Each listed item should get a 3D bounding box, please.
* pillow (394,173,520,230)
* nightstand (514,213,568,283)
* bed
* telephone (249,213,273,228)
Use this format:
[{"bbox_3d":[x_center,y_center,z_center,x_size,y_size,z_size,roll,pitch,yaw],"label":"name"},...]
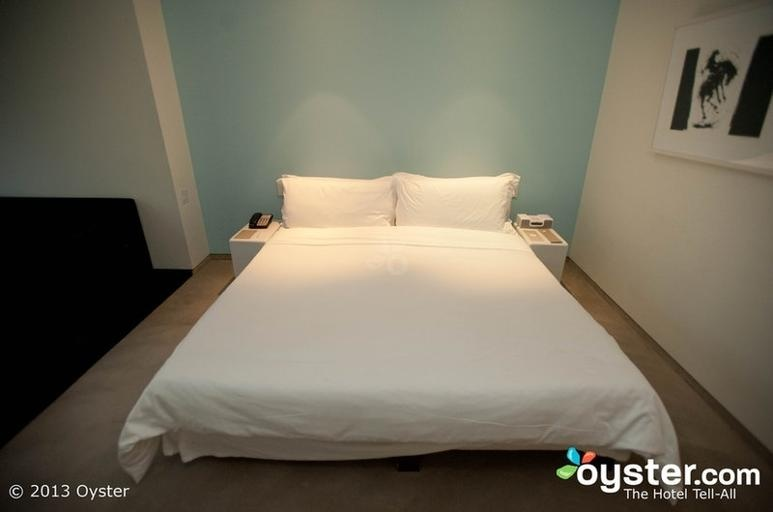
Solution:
[{"bbox_3d":[0.677,-0.526,4.623,1.228,0.611,0.476,0,19,-2],"label":"pillow"},{"bbox_3d":[1.422,-0.063,4.301,0.256,0.519,0.507,-3,29,0],"label":"nightstand"},{"bbox_3d":[-0.056,0.957,3.329,2.100,0.550,2.244,0,30,0],"label":"bed"},{"bbox_3d":[-1.262,-0.389,4.674,0.143,0.081,0.198,3,28,-1],"label":"telephone"}]
